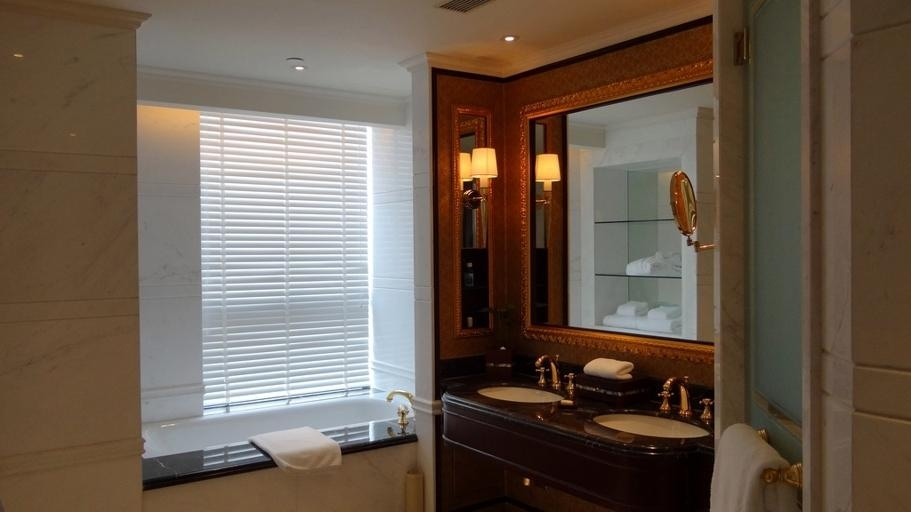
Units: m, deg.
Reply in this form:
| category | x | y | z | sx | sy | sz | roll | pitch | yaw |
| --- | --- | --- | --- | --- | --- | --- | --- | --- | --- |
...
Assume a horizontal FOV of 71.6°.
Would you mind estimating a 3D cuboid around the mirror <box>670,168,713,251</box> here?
| category | x | y | z | sx | sy | sz | roll | pitch | yaw |
| --- | --- | --- | --- | --- | --- | --- | --- | --- | --- |
| mirror | 1.257 | -0.250 | 3.382 | 0.192 | 0.381 | 0.729 | -2 | 0 | 22 |

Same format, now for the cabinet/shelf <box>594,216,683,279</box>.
| category | x | y | z | sx | sy | sz | roll | pitch | yaw |
| --- | --- | --- | --- | --- | --- | --- | --- | --- | --- |
| cabinet/shelf | 1.014 | -0.042 | 4.125 | 0.601 | 0.341 | 0.306 | 0 | -1 | -30 |

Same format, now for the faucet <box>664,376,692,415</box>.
| category | x | y | z | sx | sy | sz | roll | pitch | yaw |
| --- | --- | --- | --- | --- | --- | --- | --- | --- | --- |
| faucet | 1.280 | 0.797 | 3.645 | 0.169 | 0.189 | 0.203 | -2 | 0 | 34 |

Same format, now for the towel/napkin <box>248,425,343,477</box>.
| category | x | y | z | sx | sy | sz | roll | pitch | yaw |
| --- | --- | --- | --- | --- | --- | --- | --- | --- | --- |
| towel/napkin | -1.051 | 1.301 | 4.235 | 0.531 | 0.271 | 0.391 | -2 | 0 | -27 |

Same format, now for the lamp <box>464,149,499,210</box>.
| category | x | y | z | sx | sy | sz | roll | pitch | yaw |
| --- | --- | --- | --- | --- | --- | --- | --- | --- | --- |
| lamp | 0.165 | -0.541 | 4.416 | 0.200 | 0.390 | 0.181 | -2 | 0 | -17 |

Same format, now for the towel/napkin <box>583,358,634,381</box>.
| category | x | y | z | sx | sy | sz | roll | pitch | yaw |
| --- | --- | --- | --- | --- | --- | --- | --- | --- | --- |
| towel/napkin | 0.947 | 0.679 | 3.834 | 0.318 | 0.103 | 0.204 | -2 | 0 | 0 |
